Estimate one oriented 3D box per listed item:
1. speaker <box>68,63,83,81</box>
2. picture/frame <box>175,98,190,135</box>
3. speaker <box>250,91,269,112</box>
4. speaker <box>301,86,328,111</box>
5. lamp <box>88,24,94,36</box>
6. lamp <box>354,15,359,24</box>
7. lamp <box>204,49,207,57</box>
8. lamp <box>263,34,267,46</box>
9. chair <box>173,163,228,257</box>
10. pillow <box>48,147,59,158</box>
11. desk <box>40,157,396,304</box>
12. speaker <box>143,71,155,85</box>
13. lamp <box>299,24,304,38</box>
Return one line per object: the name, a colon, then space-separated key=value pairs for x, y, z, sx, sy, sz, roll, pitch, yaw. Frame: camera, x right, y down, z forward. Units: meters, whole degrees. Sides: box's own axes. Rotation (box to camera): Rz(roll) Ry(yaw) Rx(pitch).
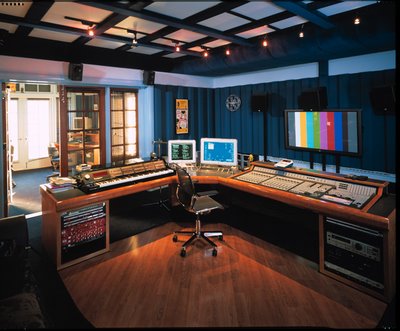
speaker: x=-2.308 y=-1.706 z=5.131 sx=0.271 sy=0.302 sz=0.235 roll=-7 pitch=9 yaw=-23
picture/frame: x=-0.439 y=-1.188 z=6.817 sx=0.097 sy=0.815 sz=0.424 roll=3 pitch=11 yaw=42
speaker: x=1.157 y=-1.226 z=5.453 sx=0.326 sy=0.403 sz=0.260 roll=-2 pitch=8 yaw=15
speaker: x=1.814 y=-1.062 z=4.537 sx=0.424 sy=0.403 sz=0.415 roll=1 pitch=15 yaw=7
lamp: x=-1.610 y=-1.971 z=4.106 sx=0.088 sy=0.118 sz=0.212 roll=-8 pitch=9 yaw=-26
lamp: x=1.977 y=-1.804 z=3.489 sx=0.065 sy=0.082 sz=0.087 roll=3 pitch=10 yaw=41
lamp: x=0.109 y=-2.149 z=5.338 sx=0.064 sy=0.128 sz=0.190 roll=-3 pitch=8 yaw=9
lamp: x=1.055 y=-2.006 z=4.519 sx=0.078 sy=0.194 sz=0.124 roll=-2 pitch=8 yaw=13
chair: x=0.012 y=0.590 z=3.932 sx=0.741 sy=1.108 sz=0.801 roll=-6 pitch=11 yaw=-30
pillow: x=-3.957 y=-0.340 z=7.473 sx=0.286 sy=0.290 sz=0.270 roll=9 pitch=10 yaw=37
desk: x=0.164 y=0.573 z=4.526 sx=4.530 sy=1.402 sz=3.023 roll=-2 pitch=8 yaw=10
speaker: x=-1.122 y=-1.890 z=6.053 sx=0.261 sy=0.296 sz=0.184 roll=-6 pitch=8 yaw=-13
lamp: x=1.470 y=-1.913 z=4.010 sx=0.069 sy=0.180 sz=0.102 roll=-1 pitch=8 yaw=19
